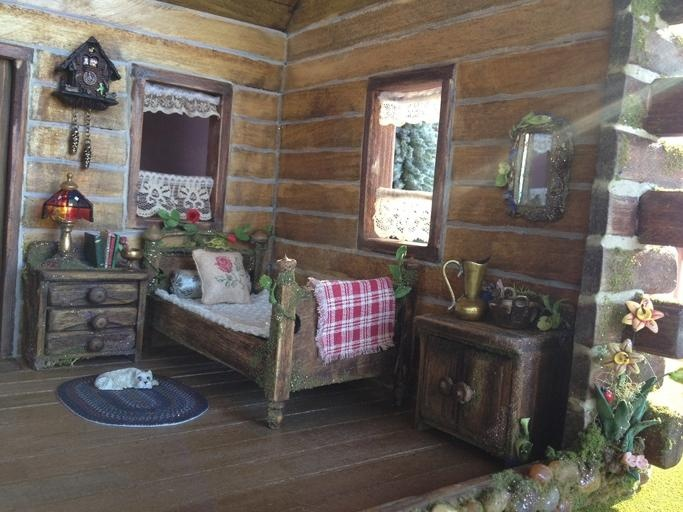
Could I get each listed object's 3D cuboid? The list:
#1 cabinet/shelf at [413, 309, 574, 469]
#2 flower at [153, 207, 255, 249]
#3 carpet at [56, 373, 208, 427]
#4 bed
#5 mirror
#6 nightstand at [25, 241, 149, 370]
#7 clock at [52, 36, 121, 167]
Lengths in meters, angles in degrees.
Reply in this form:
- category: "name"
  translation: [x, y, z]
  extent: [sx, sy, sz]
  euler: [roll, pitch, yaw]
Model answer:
- category: "cabinet/shelf"
  translation: [0.879, 0.622, 3.455]
  extent: [0.858, 1.048, 1.243]
  euler: [0, 5, -36]
- category: "flower"
  translation: [-1.348, -0.253, 4.868]
  extent: [0.796, 0.265, 0.380]
  euler: [12, 38, -40]
- category: "carpet"
  translation: [-1.494, 1.001, 3.492]
  extent: [1.115, 0.026, 0.724]
  euler: [4, 8, -2]
- category: "bed"
  translation: [-0.663, 0.493, 4.054]
  extent: [1.157, 0.889, 1.831]
  euler: [-3, 7, -36]
- category: "mirror"
  translation: [1.256, -0.548, 3.142]
  extent: [0.180, 0.578, 0.557]
  euler: [2, 4, -42]
- category: "nightstand"
  translation: [-2.205, 0.370, 4.236]
  extent: [0.800, 0.910, 0.906]
  euler: [10, 6, 35]
- category: "clock"
  translation: [-2.155, -1.271, 4.159]
  extent: [0.478, 1.078, 0.231]
  euler: [1, 11, -28]
